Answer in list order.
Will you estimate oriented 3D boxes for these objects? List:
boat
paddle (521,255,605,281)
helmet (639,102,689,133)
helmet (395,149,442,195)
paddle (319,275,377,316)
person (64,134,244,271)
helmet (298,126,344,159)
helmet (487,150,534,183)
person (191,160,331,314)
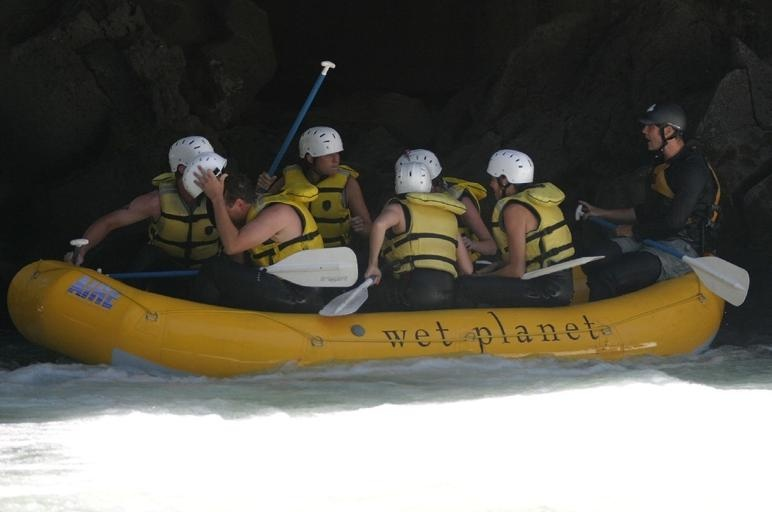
[{"bbox_3d":[-0.134,0.625,8.173,6.501,0.980,1.976,-1,2,-9],"label":"boat"},{"bbox_3d":[1.666,0.108,8.256,0.807,0.062,0.114,-12,53,27],"label":"paddle"},{"bbox_3d":[2.796,-1.369,8.718,0.383,0.162,0.278,14,7,6],"label":"helmet"},{"bbox_3d":[0.280,-0.798,8.240,0.386,0.238,0.505,-11,7,9],"label":"helmet"},{"bbox_3d":[-0.341,0.390,7.694,0.235,0.090,0.662,38,45,23],"label":"paddle"},{"bbox_3d":[-2.437,-0.509,8.815,1.667,1.445,0.544,-3,19,-35],"label":"person"},{"bbox_3d":[-0.634,-1.138,8.623,0.404,0.218,0.286,-13,18,9],"label":"helmet"},{"bbox_3d":[1.211,-0.863,8.448,0.415,0.228,0.300,20,15,22],"label":"helmet"},{"bbox_3d":[-1.035,-0.240,8.298,1.527,1.577,1.126,-2,16,0],"label":"person"}]
